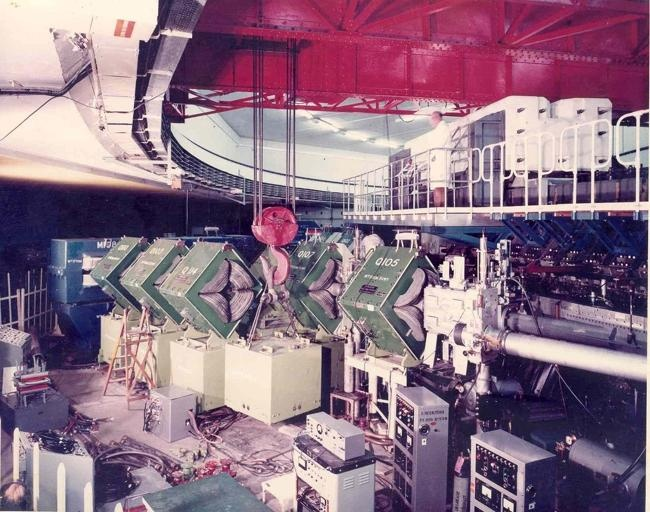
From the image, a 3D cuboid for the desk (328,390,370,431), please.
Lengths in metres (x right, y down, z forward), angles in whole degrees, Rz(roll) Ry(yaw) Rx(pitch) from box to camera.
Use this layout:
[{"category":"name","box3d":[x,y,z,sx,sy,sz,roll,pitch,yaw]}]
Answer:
[{"category":"desk","box3d":[0.366,2.381,10.509,0.436,0.502,0.730,-3,6,-40]}]
